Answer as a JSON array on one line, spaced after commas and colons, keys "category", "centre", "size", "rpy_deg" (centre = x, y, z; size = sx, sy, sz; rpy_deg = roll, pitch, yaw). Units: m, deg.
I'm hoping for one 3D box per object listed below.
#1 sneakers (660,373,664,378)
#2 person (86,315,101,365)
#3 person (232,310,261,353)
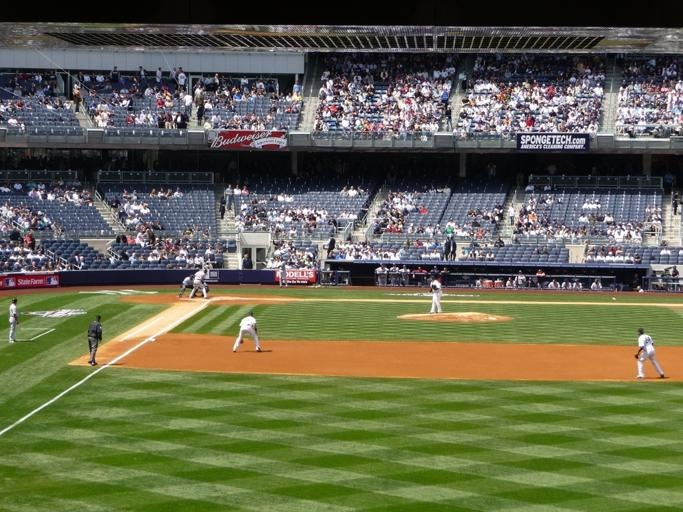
[{"category": "sneakers", "centre": [10.079, 3.791, 35.466], "size": [0.122, 0.154, 0.173], "rpy_deg": [2, 9, 9]}, {"category": "person", "centre": [-7.998, 2.729, 36.492], "size": [0.431, 1.748, 1.072], "rpy_deg": [-1, 9, -13]}, {"category": "person", "centre": [-3.312, 2.609, 39.175], "size": [1.006, 1.532, 1.560], "rpy_deg": [0, 9, -4]}]
